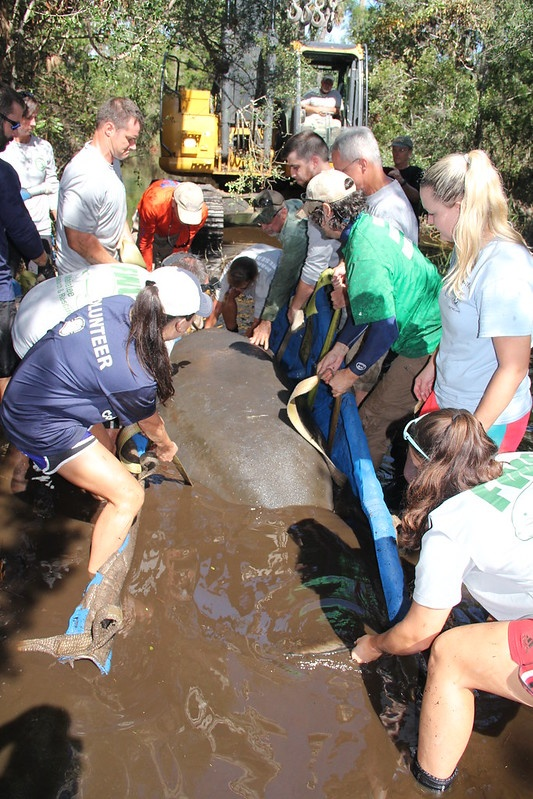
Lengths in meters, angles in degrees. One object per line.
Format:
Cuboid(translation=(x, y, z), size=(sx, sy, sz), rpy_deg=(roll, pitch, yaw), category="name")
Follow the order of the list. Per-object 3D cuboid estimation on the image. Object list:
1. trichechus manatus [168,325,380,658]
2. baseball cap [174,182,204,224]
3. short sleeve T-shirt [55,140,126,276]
Cuboid(translation=(-0.223, 0.099, 3.403), size=(0.561, 0.577, 1.610), rpy_deg=(-38, 49, 1), category="trichechus manatus")
Cuboid(translation=(-0.601, -1.530, 5.271), size=(0.238, 0.313, 0.184), rpy_deg=(-6, 5, -18), category="baseball cap")
Cuboid(translation=(-0.951, -1.062, 3.765), size=(0.353, 0.696, 0.597), rpy_deg=(14, 34, -5), category="short sleeve T-shirt")
